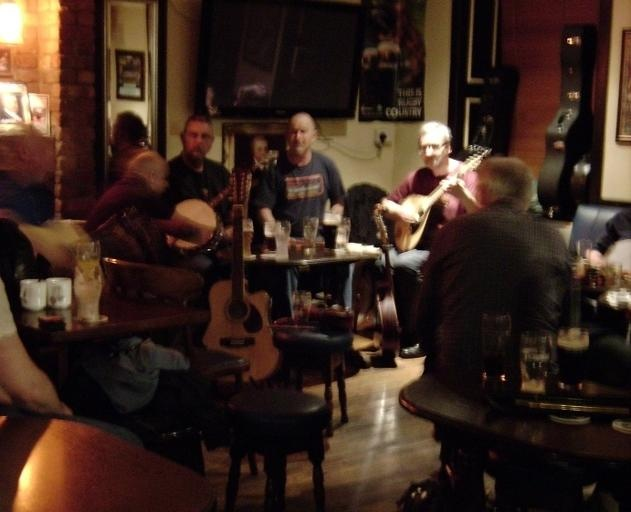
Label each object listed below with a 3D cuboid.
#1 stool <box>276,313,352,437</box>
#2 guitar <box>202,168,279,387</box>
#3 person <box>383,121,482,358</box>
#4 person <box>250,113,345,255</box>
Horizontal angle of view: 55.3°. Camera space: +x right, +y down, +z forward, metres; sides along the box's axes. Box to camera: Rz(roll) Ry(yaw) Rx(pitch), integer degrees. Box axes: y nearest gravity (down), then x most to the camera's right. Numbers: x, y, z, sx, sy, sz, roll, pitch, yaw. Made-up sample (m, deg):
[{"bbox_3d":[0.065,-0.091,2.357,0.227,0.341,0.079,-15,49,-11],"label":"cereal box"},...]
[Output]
[{"bbox_3d":[0.008,0.660,3.477,0.537,0.671,0.543,0,2,6],"label":"stool"},{"bbox_3d":[-0.446,0.154,3.864,0.500,1.372,0.490,2,9,11],"label":"guitar"},{"bbox_3d":[0.887,-0.068,4.846,0.736,1.844,0.242,23,8,38],"label":"person"},{"bbox_3d":[-0.117,-0.590,4.913,0.764,1.081,0.593,-1,9,-16],"label":"person"}]
